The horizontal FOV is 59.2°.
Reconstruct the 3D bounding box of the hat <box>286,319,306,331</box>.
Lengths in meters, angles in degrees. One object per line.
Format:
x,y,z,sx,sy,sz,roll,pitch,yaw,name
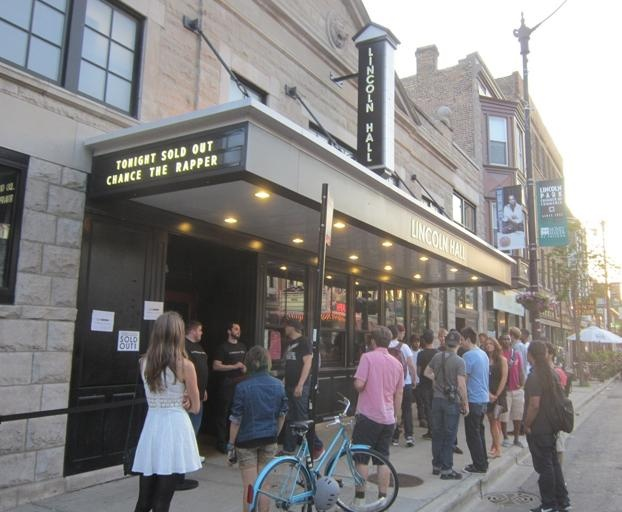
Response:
-0.257,1.066,8.468,0.191,0.230,0.163,-14,-17,38,hat

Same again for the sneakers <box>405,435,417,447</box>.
1.778,3.312,9.878,0.095,0.150,0.294,-2,-8,15,sneakers

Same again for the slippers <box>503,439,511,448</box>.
3.587,3.401,10.024,0.176,0.135,0.060,6,-6,-44,slippers

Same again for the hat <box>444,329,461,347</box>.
2.117,1.175,8.182,0.169,0.155,0.279,-2,22,18,hat

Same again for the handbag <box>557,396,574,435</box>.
3.104,1.930,6.653,0.139,0.416,0.277,1,-4,24,handbag

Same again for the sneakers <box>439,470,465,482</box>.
1.991,3.076,7.767,0.279,0.154,0.142,-2,-2,-2,sneakers

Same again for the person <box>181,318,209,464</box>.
-1.634,1.999,8.007,0.558,2.133,0.535,-2,5,-25,person

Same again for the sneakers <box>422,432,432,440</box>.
2.252,3.470,10.627,0.243,0.199,0.082,-4,-11,45,sneakers

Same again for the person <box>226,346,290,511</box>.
-0.561,1.797,5.830,0.616,1.661,0.304,3,-6,-11,person

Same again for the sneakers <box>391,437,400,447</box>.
1.536,3.350,9.919,0.073,0.100,0.211,-1,0,17,sneakers

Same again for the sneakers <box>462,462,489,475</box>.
2.425,3.095,8.074,0.306,0.155,0.142,-3,-6,15,sneakers
